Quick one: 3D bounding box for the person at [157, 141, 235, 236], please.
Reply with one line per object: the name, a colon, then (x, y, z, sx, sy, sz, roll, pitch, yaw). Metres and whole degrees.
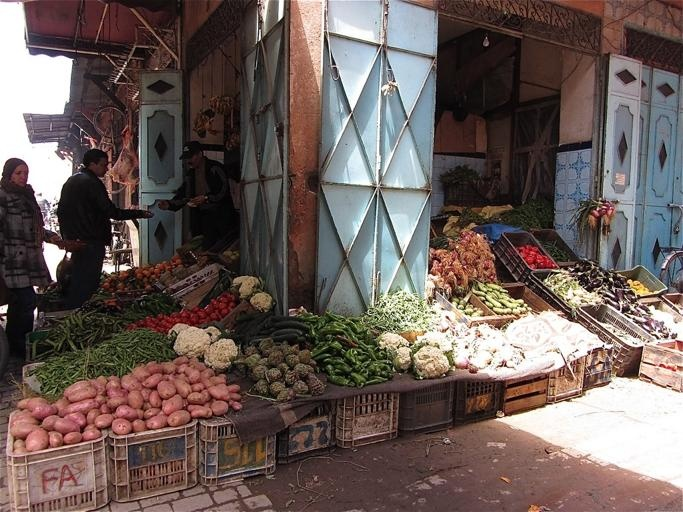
person: (-2.354, -0.824, 9.123, 1.261, 2.066, 0.959, -13, 15, -35)

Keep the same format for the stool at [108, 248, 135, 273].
stool: (-5.834, 0.083, 14.625, 0.586, 0.571, 0.583, -5, 7, -35)

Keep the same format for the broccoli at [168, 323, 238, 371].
broccoli: (-1.604, 0.986, 6.435, 0.820, 0.435, 0.764, 1, 4, -15)

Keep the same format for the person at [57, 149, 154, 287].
person: (-3.660, -0.663, 8.032, 0.913, 2.220, 0.777, -1, 3, -35)

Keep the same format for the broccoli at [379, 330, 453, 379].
broccoli: (0.888, 1.095, 6.468, 0.699, 0.472, 0.681, 1, 7, -18)

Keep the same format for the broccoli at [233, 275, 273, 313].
broccoli: (-1.154, 0.473, 7.411, 0.546, 0.252, 0.363, 39, 25, 29)
